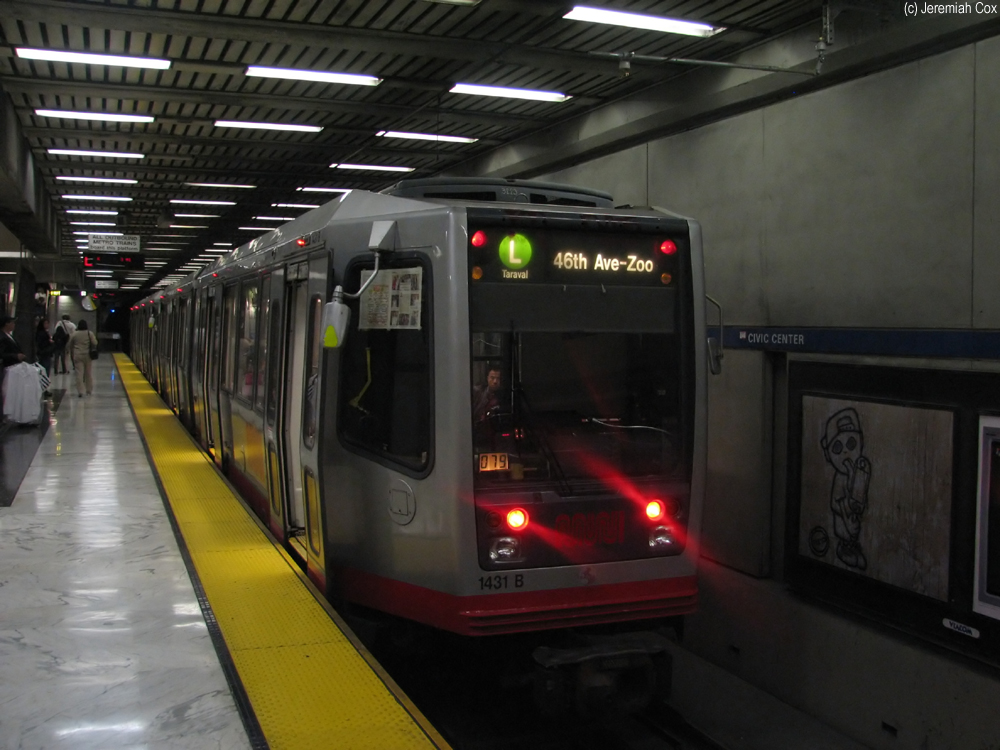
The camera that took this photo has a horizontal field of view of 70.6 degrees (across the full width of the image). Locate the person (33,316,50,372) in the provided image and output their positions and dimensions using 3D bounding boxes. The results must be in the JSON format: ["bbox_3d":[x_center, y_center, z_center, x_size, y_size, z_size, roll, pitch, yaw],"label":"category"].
[{"bbox_3d":[-13.207,-0.868,20.436,0.337,1.513,2.912,-5,7,-33],"label":"person"}]
